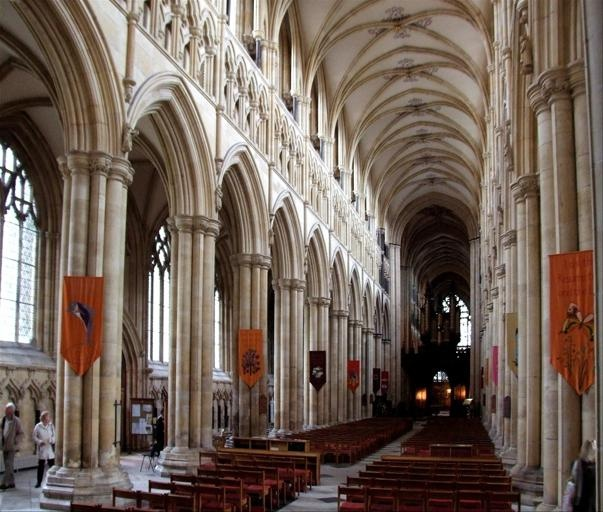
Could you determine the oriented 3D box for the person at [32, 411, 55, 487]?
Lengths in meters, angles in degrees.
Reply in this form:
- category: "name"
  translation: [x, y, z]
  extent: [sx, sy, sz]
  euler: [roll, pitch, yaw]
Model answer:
- category: "person"
  translation: [-5.544, 4.219, 17.723]
  extent: [0.443, 1.585, 1.245]
  euler: [4, -15, -17]
